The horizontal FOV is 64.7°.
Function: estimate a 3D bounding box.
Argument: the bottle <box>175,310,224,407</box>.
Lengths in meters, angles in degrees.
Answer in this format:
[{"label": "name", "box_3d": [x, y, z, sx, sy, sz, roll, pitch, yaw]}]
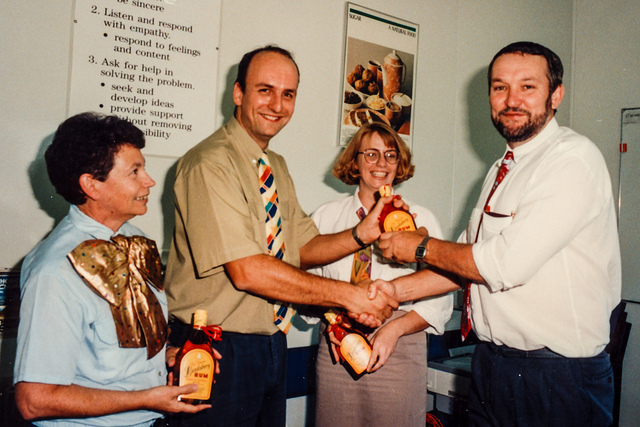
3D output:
[{"label": "bottle", "box_3d": [-0.441, 0.526, 1.809, 0.147, 0.122, 0.374, 3, 45, -10]}]

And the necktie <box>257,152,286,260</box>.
[{"label": "necktie", "box_3d": [-0.182, -0.012, 2.060, 0.100, 0.454, 0.037, -9, 9, 0]}]

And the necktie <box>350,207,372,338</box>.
[{"label": "necktie", "box_3d": [0.185, 0.254, 2.232, 0.075, 0.550, 0.077, -1, -5, 8]}]

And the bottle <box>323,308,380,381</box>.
[{"label": "bottle", "box_3d": [0.139, 0.534, 2.054, 0.332, 0.129, 0.089, 52, 19, 9]}]

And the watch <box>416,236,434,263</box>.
[{"label": "watch", "box_3d": [0.406, 0.141, 1.981, 0.053, 0.094, 0.094, 15, -4, 42]}]

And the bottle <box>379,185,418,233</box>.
[{"label": "bottle", "box_3d": [0.336, -0.028, 2.091, 0.115, 0.216, 0.126, -1, 8, 0]}]
